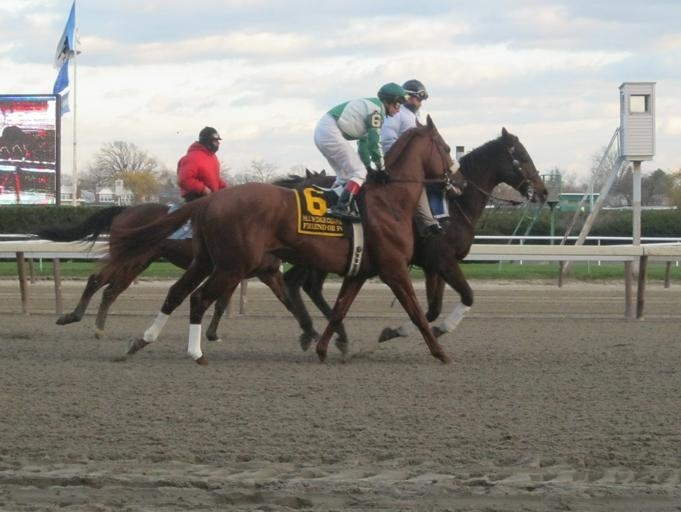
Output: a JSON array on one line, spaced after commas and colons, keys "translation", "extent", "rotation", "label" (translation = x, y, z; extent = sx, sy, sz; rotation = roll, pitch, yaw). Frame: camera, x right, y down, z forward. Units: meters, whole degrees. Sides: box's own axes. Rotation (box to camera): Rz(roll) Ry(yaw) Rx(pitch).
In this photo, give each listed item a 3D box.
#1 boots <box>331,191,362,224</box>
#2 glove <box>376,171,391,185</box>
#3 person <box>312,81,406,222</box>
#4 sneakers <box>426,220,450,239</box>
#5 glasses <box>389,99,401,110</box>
[{"translation": [0.035, -0.448, 9.145], "extent": [0.310, 0.305, 0.239], "rotation": [0, 11, -10], "label": "boots"}, {"translation": [0.380, -0.707, 9.353], "extent": [0.112, 0.116, 0.048], "rotation": [-1, 16, 13], "label": "glove"}, {"translation": [0.085, -0.899, 9.324], "extent": [0.610, 1.008, 0.731], "rotation": [2, 11, -3], "label": "person"}, {"translation": [0.888, -0.229, 9.540], "extent": [0.171, 0.150, 0.188], "rotation": [-2, 3, -38], "label": "sneakers"}, {"translation": [0.514, -1.418, 9.708], "extent": [0.096, 0.076, 0.073], "rotation": [-32, 30, -24], "label": "glasses"}]
